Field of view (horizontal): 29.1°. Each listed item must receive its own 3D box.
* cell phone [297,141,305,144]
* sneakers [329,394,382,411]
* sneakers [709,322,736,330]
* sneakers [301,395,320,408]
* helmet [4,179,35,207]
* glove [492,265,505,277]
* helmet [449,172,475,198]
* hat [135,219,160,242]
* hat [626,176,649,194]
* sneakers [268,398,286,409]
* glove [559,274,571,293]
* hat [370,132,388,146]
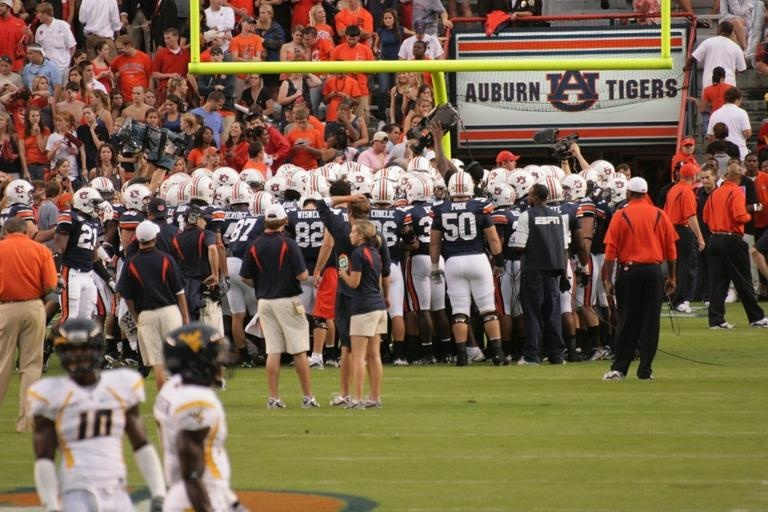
[{"bbox_3d":[-1.434,-1.993,26.049,0.073,0.052,0.072,0,-3,-2],"label":"cell phone"},{"bbox_3d":[-0.372,1.923,19.724,0.677,0.257,0.224,3,0,10],"label":"sneakers"},{"bbox_3d":[5.580,1.148,24.361,0.425,0.171,0.151,-1,3,0],"label":"sneakers"},{"bbox_3d":[-0.961,1.947,19.773,0.123,0.112,0.272,0,-1,23],"label":"sneakers"},{"bbox_3d":[-5.297,-0.937,21.602,0.432,0.342,0.310,-3,9,-7],"label":"helmet"},{"bbox_3d":[1.698,0.221,21.913,0.175,0.163,0.104,19,13,2],"label":"glove"},{"bbox_3d":[1.153,-1.042,21.774,0.305,0.328,0.409,2,10,6],"label":"helmet"},{"bbox_3d":[-3.070,-0.320,19.315,0.237,0.170,0.311,4,36,0],"label":"hat"},{"bbox_3d":[3.562,-0.994,20.739,0.243,0.254,0.280,4,6,1],"label":"hat"},{"bbox_3d":[-1.403,1.967,19.742,0.109,0.102,0.253,1,1,27],"label":"sneakers"},{"bbox_3d":[2.695,0.417,22.022,0.189,0.204,0.231,-2,1,4],"label":"glove"},{"bbox_3d":[-0.061,-1.994,24.900,0.165,0.129,0.251,-7,-3,-38],"label":"hat"}]
